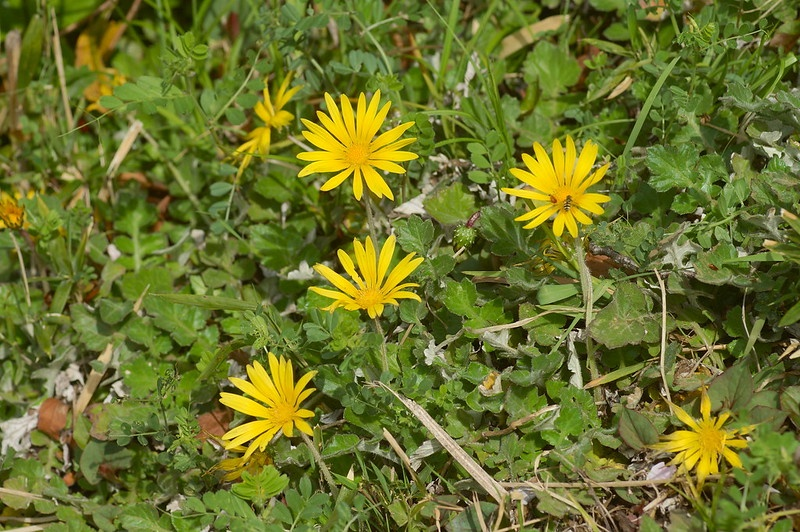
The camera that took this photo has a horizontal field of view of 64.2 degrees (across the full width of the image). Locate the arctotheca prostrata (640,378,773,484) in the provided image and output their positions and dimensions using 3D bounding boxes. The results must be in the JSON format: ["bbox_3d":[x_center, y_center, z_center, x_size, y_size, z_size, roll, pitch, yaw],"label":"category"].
[{"bbox_3d":[1.083,0.572,2.178,0.392,0.380,0.115,0,98,-23],"label":"arctotheca prostrata"}]

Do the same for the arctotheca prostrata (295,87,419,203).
[{"bbox_3d":[-0.154,-0.425,2.293,0.428,0.138,0.456,-18,55,-30],"label":"arctotheca prostrata"}]

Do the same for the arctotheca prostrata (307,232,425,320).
[{"bbox_3d":[-0.109,0.055,2.370,0.454,0.453,0.190,-2,85,17],"label":"arctotheca prostrata"}]

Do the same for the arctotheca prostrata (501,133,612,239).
[{"bbox_3d":[0.568,-0.258,2.226,0.348,0.119,0.391,-4,55,37],"label":"arctotheca prostrata"}]

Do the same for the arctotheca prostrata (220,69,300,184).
[{"bbox_3d":[-0.595,-0.621,2.720,0.430,0.162,0.469,2,79,46],"label":"arctotheca prostrata"}]
